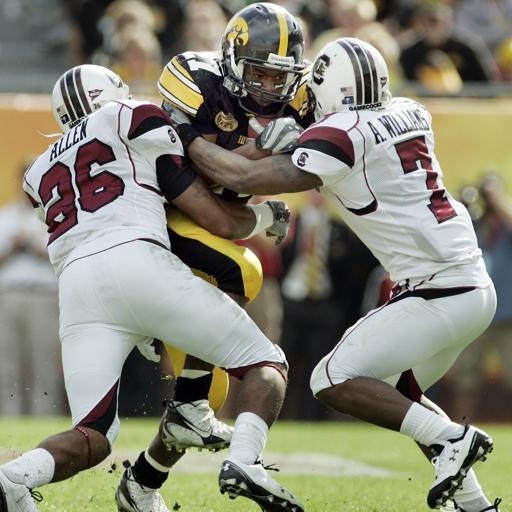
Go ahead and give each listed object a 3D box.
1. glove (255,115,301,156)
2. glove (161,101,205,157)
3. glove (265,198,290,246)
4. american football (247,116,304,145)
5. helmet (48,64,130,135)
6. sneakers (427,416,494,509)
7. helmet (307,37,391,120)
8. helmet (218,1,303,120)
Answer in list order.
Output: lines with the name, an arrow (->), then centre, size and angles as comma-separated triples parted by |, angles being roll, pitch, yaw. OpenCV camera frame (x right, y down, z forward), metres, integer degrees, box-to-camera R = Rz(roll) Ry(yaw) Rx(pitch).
glove -> 0.090, -0.505, 2.869 | 0.197, 0.142, 0.092 | -39, 3, 2
glove -> -0.351, -0.571, 2.976 | 0.100, 0.242, 0.187 | -21, -19, -31
glove -> 0.111, -0.154, 3.368 | 0.098, 0.204, 0.153 | 9, 47, -12
american football -> 0.070, -0.554, 2.938 | 0.203, 0.098, 0.150 | -16, -20, 41
helmet -> -0.768, -0.716, 3.109 | 0.377, 0.276, 0.289 | -26, 15, -2
sneakers -> 0.774, 0.811, 2.540 | 0.230, 0.321, 0.150 | 0, -10, 16
helmet -> 0.425, -0.804, 3.023 | 0.330, 0.369, 0.383 | 7, 33, 12
helmet -> -0.010, -0.889, 3.002 | 0.419, 0.404, 0.504 | 0, 35, -18
